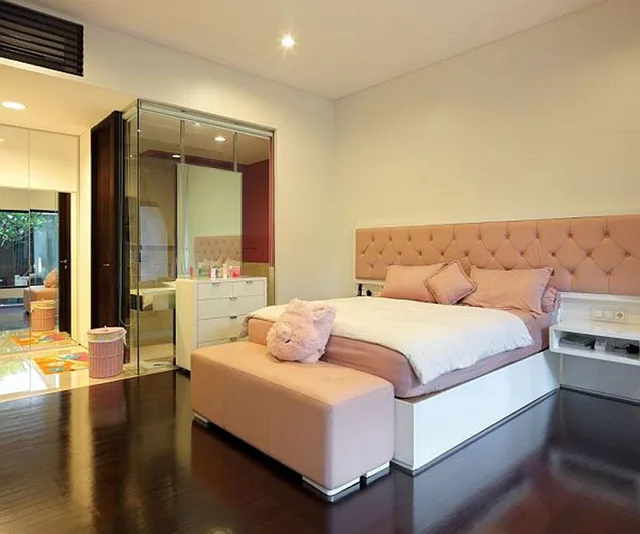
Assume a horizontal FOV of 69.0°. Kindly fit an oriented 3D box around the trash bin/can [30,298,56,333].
[{"bbox_3d":[-3.447,0.605,5.806,0.300,0.476,0.320,0,0,22],"label":"trash bin/can"}]

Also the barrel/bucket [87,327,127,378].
[{"bbox_3d":[-2.075,0.812,4.512,0.354,0.459,0.310,0,8,-16],"label":"barrel/bucket"}]

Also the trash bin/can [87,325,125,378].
[{"bbox_3d":[-2.081,0.799,4.520,0.337,0.481,0.325,11,14,26],"label":"trash bin/can"}]

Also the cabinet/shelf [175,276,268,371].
[{"bbox_3d":[-1.009,0.578,4.953,0.355,0.947,0.928,2,3,45],"label":"cabinet/shelf"}]

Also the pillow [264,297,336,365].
[{"bbox_3d":[-0.126,0.440,3.215,0.404,0.435,0.167,7,-21,33],"label":"pillow"}]
